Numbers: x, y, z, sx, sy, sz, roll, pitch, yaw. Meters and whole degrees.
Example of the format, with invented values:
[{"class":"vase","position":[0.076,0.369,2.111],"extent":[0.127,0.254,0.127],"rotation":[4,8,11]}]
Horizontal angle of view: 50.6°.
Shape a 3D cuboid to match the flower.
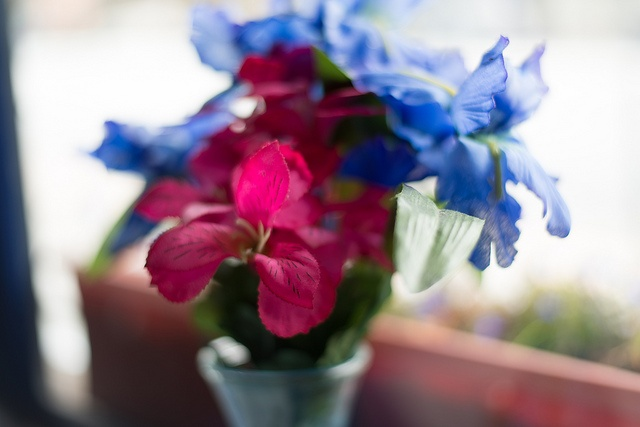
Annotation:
[{"class":"flower","position":[0.042,-0.043,0.740],"extent":[0.381,0.341,0.373],"rotation":[26,7,31]}]
